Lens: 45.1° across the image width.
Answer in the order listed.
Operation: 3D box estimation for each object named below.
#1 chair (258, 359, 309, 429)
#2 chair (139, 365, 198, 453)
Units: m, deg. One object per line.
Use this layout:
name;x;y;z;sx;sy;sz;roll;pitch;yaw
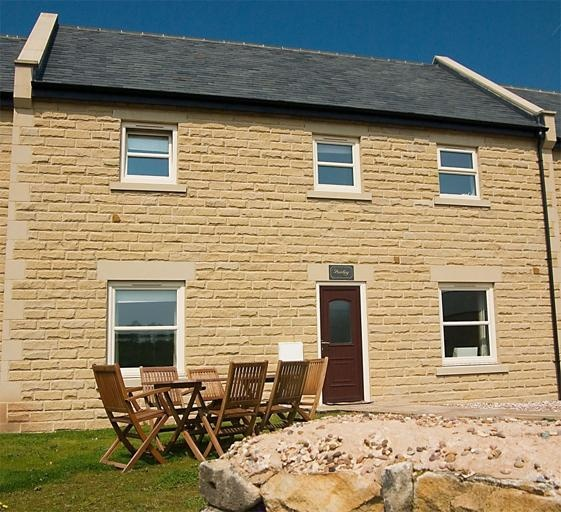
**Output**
chair;-0.132;1.813;8.820;0.782;0.860;0.664;-2;-7;43
chair;-1.569;2.115;9.558;0.949;1.041;0.826;-9;-19;13
